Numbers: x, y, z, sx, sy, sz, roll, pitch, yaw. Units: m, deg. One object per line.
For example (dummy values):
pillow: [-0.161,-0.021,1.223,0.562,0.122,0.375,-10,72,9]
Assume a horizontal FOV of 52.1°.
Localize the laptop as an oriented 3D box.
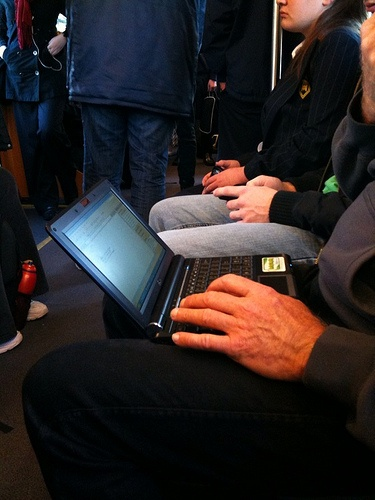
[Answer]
laptop: [-0.017,0.058,0.805,0.422,0.252,0.377,-12,28,14]
